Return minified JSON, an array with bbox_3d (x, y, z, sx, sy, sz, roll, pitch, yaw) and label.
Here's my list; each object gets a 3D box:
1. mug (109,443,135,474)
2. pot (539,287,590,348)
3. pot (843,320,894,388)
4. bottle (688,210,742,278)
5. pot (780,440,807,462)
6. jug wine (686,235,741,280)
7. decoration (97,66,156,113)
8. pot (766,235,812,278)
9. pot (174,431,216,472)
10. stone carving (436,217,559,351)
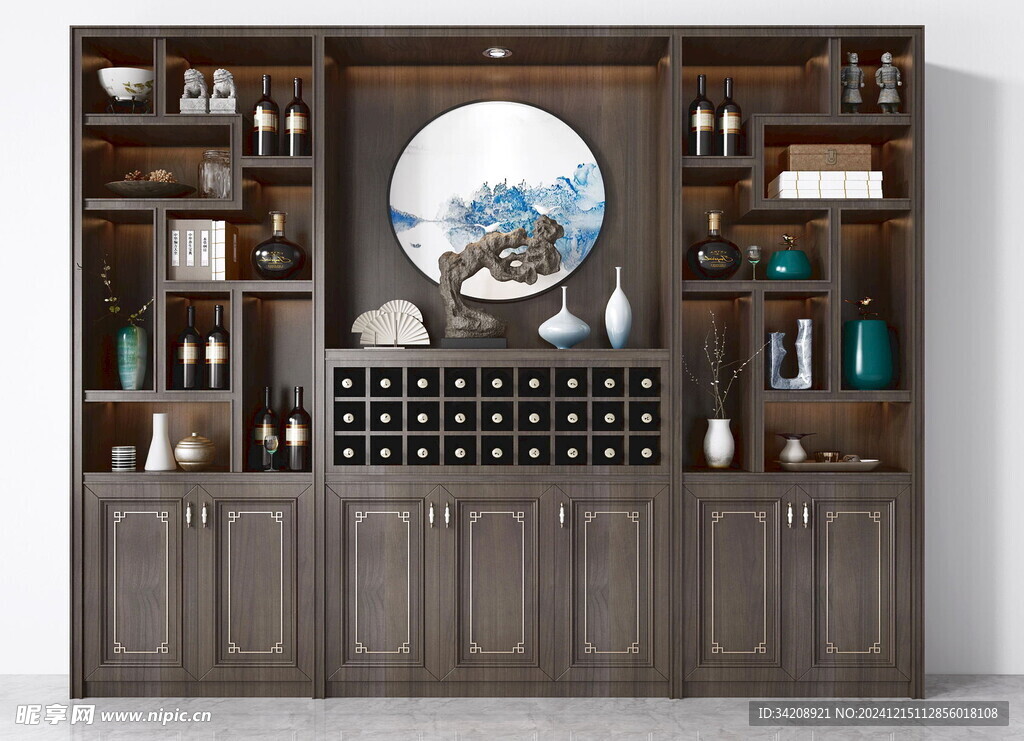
[{"bbox_3d":[-2.093,0.503,7.827,0.127,0.146,0.131,-3,-4,37],"label":"mug"},{"bbox_3d":[0.291,-0.293,7.900,0.308,0.372,0.315,0,2,0],"label":"pot"},{"bbox_3d":[1.911,-0.079,7.731,0.313,0.498,0.324,-2,-3,0],"label":"pot"},{"bbox_3d":[1.111,-0.693,7.880,0.359,0.485,0.240,0,-3,-7],"label":"bottle"},{"bbox_3d":[1.547,0.441,7.852,0.128,0.118,0.127,0,2,0],"label":"pot"},{"bbox_3d":[1.104,-0.614,7.908,0.287,0.244,0.233,1,-12,-3],"label":"jug wine"},{"bbox_3d":[-2.104,-1.542,7.825,0.259,0.202,0.274,1,-1,-12],"label":"decoration"},{"bbox_3d":[1.480,-0.615,7.821,0.234,0.267,0.238,0,2,0],"label":"pot"},{"bbox_3d":[-1.709,0.445,7.786,0.189,0.192,0.195,1,1,0],"label":"pot"},{"bbox_3d":[-0.086,-0.500,7.909,0.700,0.712,0.187,0,-6,-1],"label":"stone carving"}]
